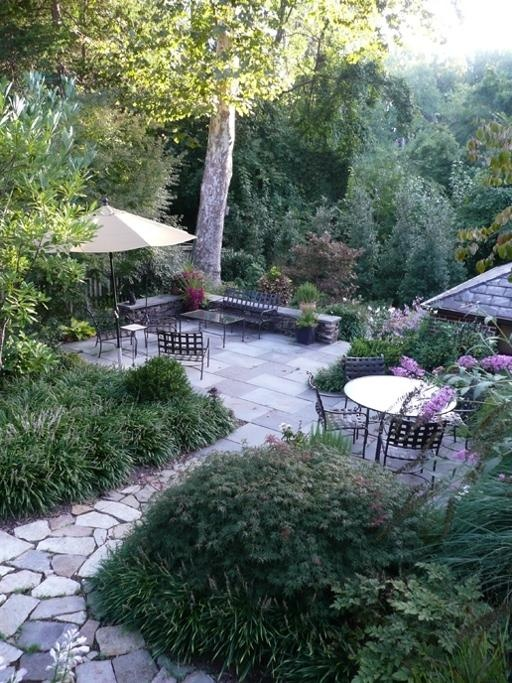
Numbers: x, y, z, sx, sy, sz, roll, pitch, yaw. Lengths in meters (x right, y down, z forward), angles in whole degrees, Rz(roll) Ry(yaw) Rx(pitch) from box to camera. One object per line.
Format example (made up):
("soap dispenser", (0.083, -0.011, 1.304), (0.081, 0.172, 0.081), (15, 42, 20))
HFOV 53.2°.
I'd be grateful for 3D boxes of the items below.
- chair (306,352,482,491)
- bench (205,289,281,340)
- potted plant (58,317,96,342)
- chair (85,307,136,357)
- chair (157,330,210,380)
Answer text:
("chair", (1.345, 0.768, 5.154), (1.352, 0.607, 1.291), (-4, 10, -20))
("bench", (-0.248, -0.706, 11.490), (1.335, 0.769, 0.511), (18, 11, 33))
("potted plant", (-3.387, -0.163, 9.789), (0.559, 0.240, 0.532), (-1, 23, -28))
("chair", (-2.908, -0.162, 10.112), (0.722, 0.832, 0.592), (-10, 11, -18))
("chair", (-1.102, 0.233, 7.772), (0.602, 0.759, 0.574), (6, 40, 3))
